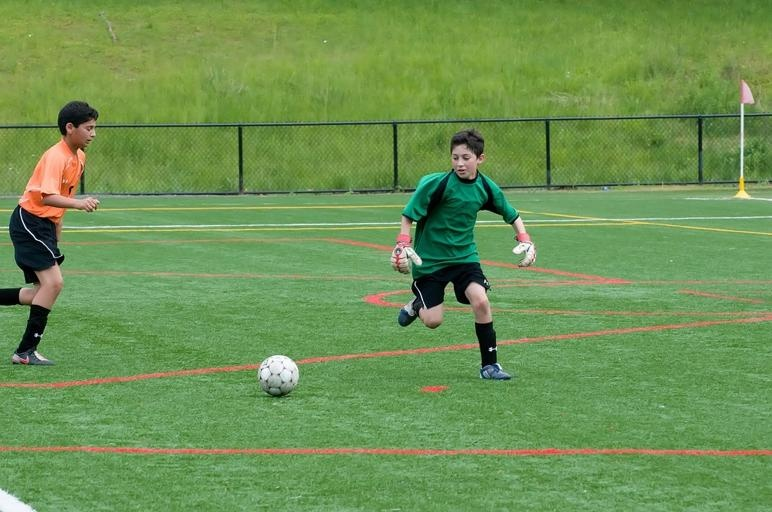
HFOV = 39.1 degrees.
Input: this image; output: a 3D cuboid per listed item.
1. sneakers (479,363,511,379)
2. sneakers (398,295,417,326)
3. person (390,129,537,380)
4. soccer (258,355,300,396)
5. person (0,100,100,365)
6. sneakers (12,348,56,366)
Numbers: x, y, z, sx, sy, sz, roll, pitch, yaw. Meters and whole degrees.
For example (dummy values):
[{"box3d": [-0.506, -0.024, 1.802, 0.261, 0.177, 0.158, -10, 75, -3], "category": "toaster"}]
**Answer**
[{"box3d": [0.888, 0.921, 8.842, 0.245, 0.122, 0.268, 0, 11, -1], "category": "sneakers"}, {"box3d": [0.187, 0.495, 9.320, 0.126, 0.122, 0.313, 4, -19, -15], "category": "sneakers"}, {"box3d": [0.630, -0.051, 9.003, 1.084, 1.977, 0.967, 0, 13, 2], "category": "person"}, {"box3d": [-0.780, 0.943, 8.462, 0.335, 0.278, 0.324, -4, -7, 30], "category": "soccer"}, {"box3d": [-2.832, -0.174, 9.053, 0.914, 2.177, 0.786, -3, 13, -11], "category": "person"}, {"box3d": [-2.978, 0.858, 9.199, 0.388, 0.122, 0.127, 3, 0, 1], "category": "sneakers"}]
